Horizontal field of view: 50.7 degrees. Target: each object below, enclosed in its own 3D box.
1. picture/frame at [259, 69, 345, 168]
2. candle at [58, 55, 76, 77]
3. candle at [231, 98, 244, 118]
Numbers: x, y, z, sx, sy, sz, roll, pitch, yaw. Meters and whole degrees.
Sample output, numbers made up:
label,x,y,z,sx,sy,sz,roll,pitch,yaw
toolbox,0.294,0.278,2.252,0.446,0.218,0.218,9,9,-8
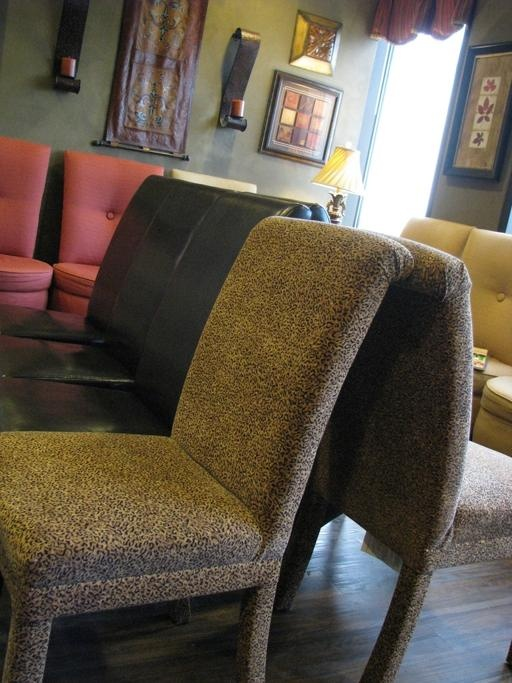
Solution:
label,x,y,z,sx,sy,sz,roll,pitch,yaw
picture/frame,0.352,-1.626,4.012,0.662,0.614,0.048,31,33,32
candle,-1.067,-1.559,3.057,0.106,0.134,0.075,5,29,-27
candle,-0.120,-1.535,3.554,0.114,0.122,0.110,2,8,-3
